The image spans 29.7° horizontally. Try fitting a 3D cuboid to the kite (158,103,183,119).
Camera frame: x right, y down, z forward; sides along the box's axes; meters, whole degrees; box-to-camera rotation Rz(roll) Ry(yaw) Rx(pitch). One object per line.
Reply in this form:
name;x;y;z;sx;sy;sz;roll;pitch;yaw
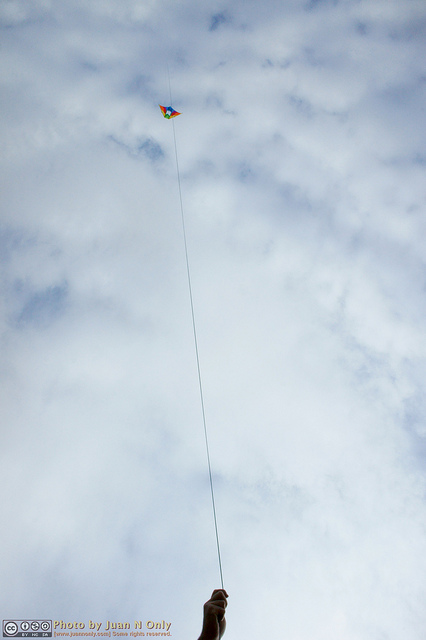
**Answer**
kite;-1.015;-4.719;18.091;0.352;0.346;0.412;2;45;-8
